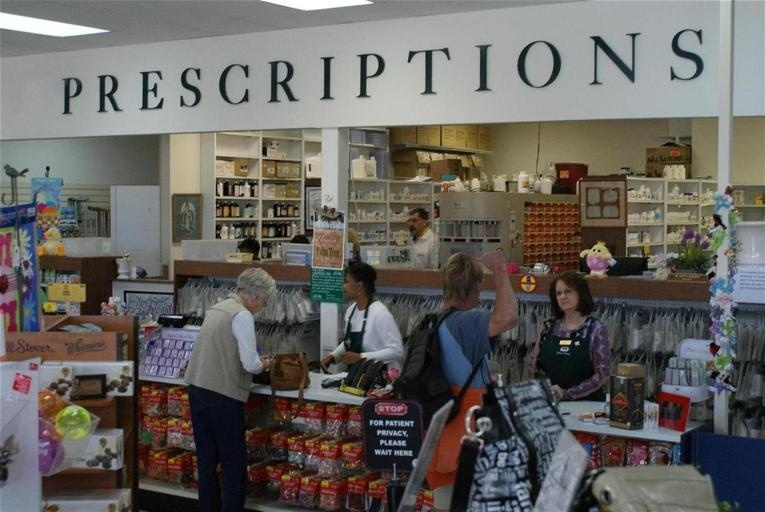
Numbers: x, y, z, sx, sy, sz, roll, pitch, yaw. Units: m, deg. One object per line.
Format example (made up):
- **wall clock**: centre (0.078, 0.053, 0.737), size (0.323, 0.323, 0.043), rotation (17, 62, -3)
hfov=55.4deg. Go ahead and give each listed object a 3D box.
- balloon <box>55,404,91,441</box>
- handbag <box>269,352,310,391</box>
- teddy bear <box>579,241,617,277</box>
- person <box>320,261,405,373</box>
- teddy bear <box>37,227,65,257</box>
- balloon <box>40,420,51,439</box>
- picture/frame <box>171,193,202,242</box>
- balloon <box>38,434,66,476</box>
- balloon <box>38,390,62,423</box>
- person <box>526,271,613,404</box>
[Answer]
- **balloon**: centre (-2.028, 1.086, 4.784), size (0.230, 0.205, 0.165), rotation (-3, 4, -25)
- **handbag**: centre (-0.783, 0.951, 6.174), size (0.315, 0.361, 0.250), rotation (2, 1, 43)
- **teddy bear**: centre (2.052, 0.026, 6.996), size (0.322, 0.348, 0.222), rotation (6, 5, 35)
- **person**: centre (-0.167, 0.560, 6.582), size (0.503, 0.984, 0.808), rotation (-4, 4, -41)
- **teddy bear**: centre (-4.426, -0.201, 9.719), size (0.297, 0.364, 0.734), rotation (-3, 4, -24)
- **balloon**: centre (-2.133, 1.080, 4.590), size (0.057, 0.103, 0.032), rotation (-3, 3, -23)
- **picture/frame**: centre (-3.289, -0.647, 12.101), size (0.071, 1.054, 0.780), rotation (-2, 0, 36)
- **balloon**: centre (-2.109, 1.256, 4.626), size (0.156, 0.254, 0.104), rotation (-4, 4, -37)
- **balloon**: centre (-2.228, 1.001, 4.886), size (0.176, 0.172, 0.141), rotation (2, 0, 38)
- **person**: centre (1.532, 0.656, 6.013), size (0.594, 1.031, 0.472), rotation (-1, 3, 5)
